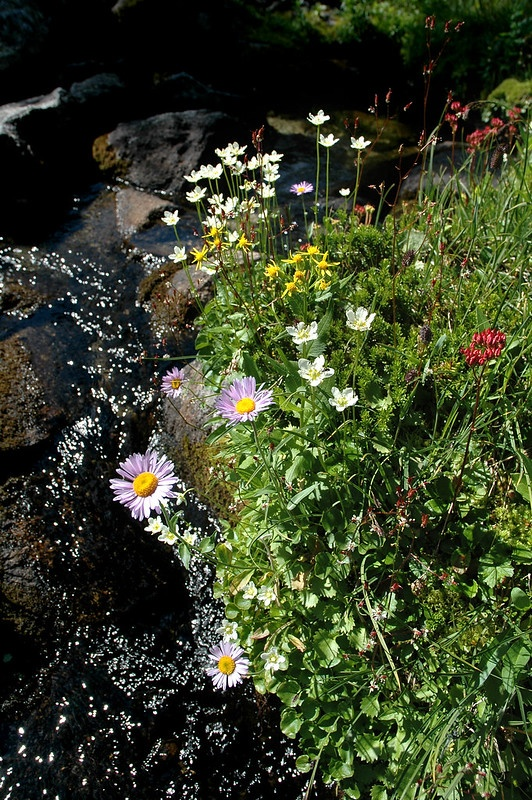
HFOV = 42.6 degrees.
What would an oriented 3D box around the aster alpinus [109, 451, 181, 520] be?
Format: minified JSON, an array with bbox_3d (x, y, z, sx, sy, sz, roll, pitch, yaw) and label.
[{"bbox_3d":[-0.396,0.271,2.249,0.216,0.068,0.206,-5,66,-2],"label":"aster alpinus"}]

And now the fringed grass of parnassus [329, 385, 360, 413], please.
[{"bbox_3d":[0.254,-0.007,2.260,0.088,0.056,0.081,-17,96,19],"label":"fringed grass of parnassus"}]

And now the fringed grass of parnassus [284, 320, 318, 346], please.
[{"bbox_3d":[0.125,-0.235,2.356,0.101,0.058,0.093,0,59,8],"label":"fringed grass of parnassus"}]

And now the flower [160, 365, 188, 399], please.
[{"bbox_3d":[-0.458,-0.084,3.401,0.159,0.061,0.152,0,68,36],"label":"flower"}]

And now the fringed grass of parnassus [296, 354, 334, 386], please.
[{"bbox_3d":[0.167,-0.095,2.255,0.110,0.059,0.105,-18,71,3],"label":"fringed grass of parnassus"}]
